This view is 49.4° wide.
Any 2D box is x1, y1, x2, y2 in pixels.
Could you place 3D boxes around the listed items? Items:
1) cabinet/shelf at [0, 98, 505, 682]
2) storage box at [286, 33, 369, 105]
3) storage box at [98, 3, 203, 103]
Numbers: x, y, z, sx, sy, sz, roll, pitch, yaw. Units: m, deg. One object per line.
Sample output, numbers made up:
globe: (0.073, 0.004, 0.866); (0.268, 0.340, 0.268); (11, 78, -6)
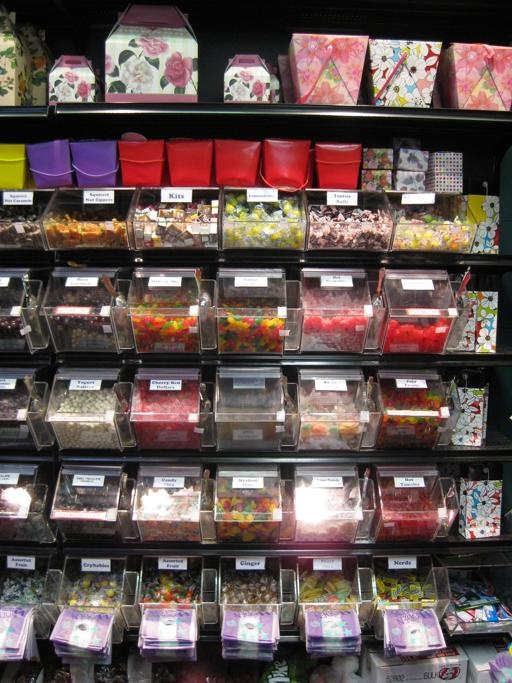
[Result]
cabinet/shelf: (-0.083, 0.235, 2.391); (2.477, 0.836, 2.269); (0, -80, -1)
storage box: (0.315, -1.152, 2.501); (0.370, 0.328, 0.308); (0, -83, -3)
storage box: (-0.394, -1.200, 2.409); (0.399, 0.404, 0.442); (1, -72, 0)
